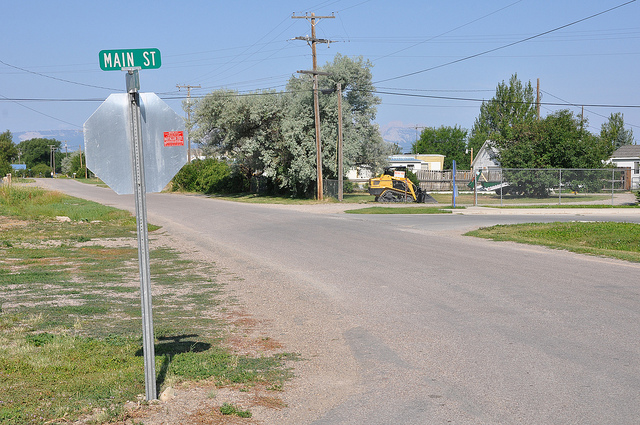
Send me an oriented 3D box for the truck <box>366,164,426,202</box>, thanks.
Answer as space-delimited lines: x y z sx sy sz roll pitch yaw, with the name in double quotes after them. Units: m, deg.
4.986 -1.901 47.239 4.530 2.280 2.748 0 3 6 "truck"
